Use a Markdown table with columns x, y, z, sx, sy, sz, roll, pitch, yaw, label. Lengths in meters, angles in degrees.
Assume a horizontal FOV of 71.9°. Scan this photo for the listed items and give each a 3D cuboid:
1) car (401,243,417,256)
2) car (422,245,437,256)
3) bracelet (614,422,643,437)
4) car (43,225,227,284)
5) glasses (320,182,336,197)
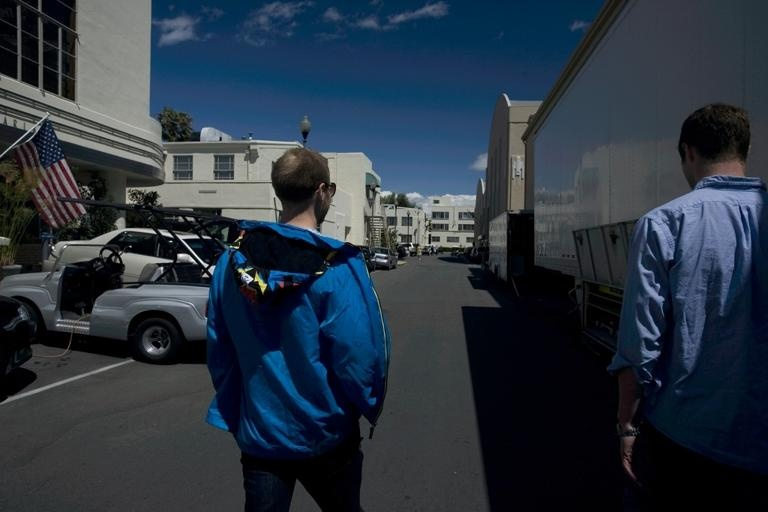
| x | y | z | sx | sy | sz | roll | pitch | yaw | label |
| --- | --- | --- | --- | --- | --- | --- | --- | --- | --- |
| 3.118 | -0.842 | 67.762 | 1.111 | 1.214 | 3.422 | 1 | 6 | 14 | car |
| 6.936 | -0.815 | 82.304 | 1.269 | 1.169 | 3.061 | -1 | -2 | 10 | car |
| 1.572 | 1.108 | 3.393 | 0.094 | 0.092 | 0.138 | -3 | -7 | 24 | bracelet |
| -6.045 | -0.336 | 11.972 | 3.137 | 1.696 | 1.100 | 1 | -2 | 13 | car |
| -0.377 | -0.441 | 3.517 | 0.086 | 0.045 | 0.092 | 5 | 1 | 19 | glasses |
